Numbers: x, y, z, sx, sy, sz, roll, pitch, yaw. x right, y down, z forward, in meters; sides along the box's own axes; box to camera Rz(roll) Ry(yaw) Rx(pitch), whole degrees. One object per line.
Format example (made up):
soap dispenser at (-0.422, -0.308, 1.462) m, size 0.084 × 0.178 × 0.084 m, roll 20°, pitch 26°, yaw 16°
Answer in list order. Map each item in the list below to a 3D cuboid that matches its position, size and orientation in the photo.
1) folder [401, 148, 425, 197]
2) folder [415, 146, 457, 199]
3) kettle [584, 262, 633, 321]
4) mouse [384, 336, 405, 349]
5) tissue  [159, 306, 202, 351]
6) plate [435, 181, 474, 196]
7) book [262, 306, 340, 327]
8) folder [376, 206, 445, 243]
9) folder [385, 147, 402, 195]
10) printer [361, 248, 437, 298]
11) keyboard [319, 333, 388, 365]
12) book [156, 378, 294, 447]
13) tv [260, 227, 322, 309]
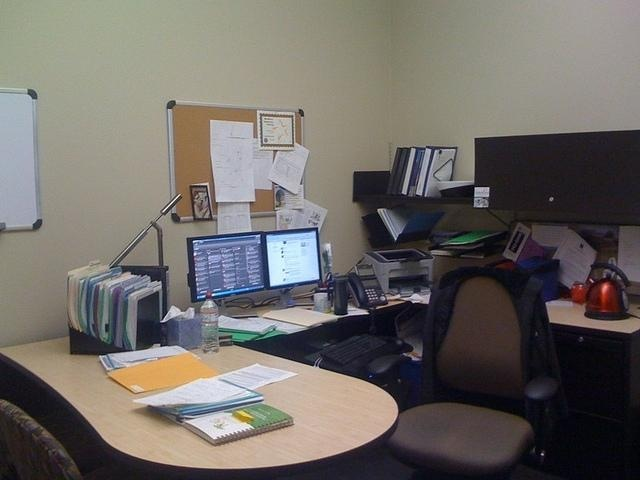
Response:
folder at (0.649, -0.478, 3.431) m, size 0.064 × 0.272 × 0.262 m, roll 11°, pitch 9°, yaw 1°
folder at (0.805, -0.480, 3.441) m, size 0.078 × 0.334 × 0.329 m, roll 10°, pitch 8°, yaw 37°
kettle at (1.502, 0.262, 2.594) m, size 0.310 × 0.367 × 0.270 m, roll -1°, pitch -4°, yaw 45°
mouse at (0.412, 0.572, 2.770) m, size 0.068 × 0.022 × 0.051 m, roll 9°, pitch 10°, yaw 23°
tissue  at (-0.644, 0.416, 2.308) m, size 0.182 × 0.253 × 0.179 m, roll 1°, pitch 1°, yaw 43°
plate at (0.928, -0.342, 3.306) m, size 0.180 × 0.103 × 0.288 m, roll -4°, pitch 10°, yaw -27°
book at (-0.122, 0.432, 2.781) m, size 0.190 × 0.022 × 0.166 m, roll 6°, pitch 8°, yaw 41°
folder at (0.630, -0.133, 3.611) m, size 0.472 × 0.249 × 0.275 m, roll -6°, pitch 10°, yaw -40°
folder at (0.554, -0.490, 3.531) m, size 0.067 × 0.286 × 0.281 m, roll 11°, pitch 9°, yaw 9°
printer at (0.550, 0.215, 3.399) m, size 0.463 × 0.267 × 0.464 m, roll -2°, pitch 6°, yaw -4°
keyboard at (0.191, 0.590, 2.736) m, size 0.422 × 0.112 × 0.321 m, roll -7°, pitch 6°, yaw 12°
book at (-0.319, 0.550, 1.648) m, size 0.384 × 0.088 × 0.365 m, roll 0°, pitch 7°, yaw -22°
tv at (-0.190, 0.169, 3.102) m, size 0.476 × 0.554 × 0.201 m, roll -5°, pitch 3°, yaw -37°
